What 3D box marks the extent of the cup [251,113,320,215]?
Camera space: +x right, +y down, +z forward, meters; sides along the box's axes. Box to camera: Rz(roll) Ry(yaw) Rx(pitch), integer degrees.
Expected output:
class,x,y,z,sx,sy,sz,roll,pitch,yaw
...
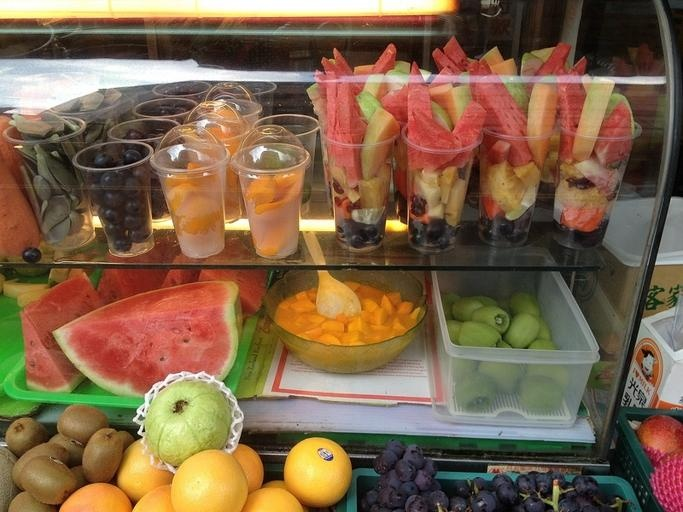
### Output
class,x,y,z,sx,sy,sz,roll,pitch,yaw
cup,-0.139,-0.227,1.182,0.160,0.221,0.159,1,36,0

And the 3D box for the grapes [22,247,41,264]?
class,x,y,z,sx,sy,sz,roll,pitch,yaw
grapes,-0.758,-0.003,1.235,0.040,0.039,0.045,-23,-2,-30

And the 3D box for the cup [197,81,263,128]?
class,x,y,z,sx,sy,sz,roll,pitch,yaw
cup,-0.282,-0.385,1.236,0.114,0.103,0.112,0,24,0

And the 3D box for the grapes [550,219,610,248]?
class,x,y,z,sx,sy,sz,roll,pitch,yaw
grapes,0.576,-0.055,1.208,0.079,0.048,0.077,7,27,26

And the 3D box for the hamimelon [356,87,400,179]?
class,x,y,z,sx,sy,sz,roll,pitch,yaw
hamimelon,0.077,-0.268,1.115,0.120,0.154,0.145,-17,8,17

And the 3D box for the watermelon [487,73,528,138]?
class,x,y,z,sx,sy,sz,roll,pitch,yaw
watermelon,0.375,-0.336,1.131,0.081,0.125,0.030,-12,0,-1

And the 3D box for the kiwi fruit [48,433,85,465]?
class,x,y,z,sx,sy,sz,roll,pitch,yaw
kiwi fruit,-0.637,0.452,1.184,0.072,0.055,0.057,9,9,-13

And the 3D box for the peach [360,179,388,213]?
class,x,y,z,sx,sy,sz,roll,pitch,yaw
peach,0.068,-0.142,1.204,0.087,0.099,0.061,2,29,4

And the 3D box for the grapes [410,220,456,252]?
class,x,y,z,sx,sy,sz,roll,pitch,yaw
grapes,0.214,-0.050,1.196,0.089,0.066,0.085,-2,20,-1

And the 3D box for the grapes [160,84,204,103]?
class,x,y,z,sx,sy,sz,roll,pitch,yaw
grapes,-0.386,-0.403,1.247,0.059,0.020,0.058,4,27,10

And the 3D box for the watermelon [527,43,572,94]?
class,x,y,z,sx,sy,sz,roll,pitch,yaw
watermelon,0.513,-0.473,1.227,0.067,0.046,0.173,28,69,17

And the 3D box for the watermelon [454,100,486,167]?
class,x,y,z,sx,sy,sz,roll,pitch,yaw
watermelon,0.288,-0.283,1.112,0.038,0.113,0.089,11,0,19

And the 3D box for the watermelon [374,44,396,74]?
class,x,y,z,sx,sy,sz,roll,pitch,yaw
watermelon,0.100,-0.470,1.187,0.046,0.053,0.063,9,34,19

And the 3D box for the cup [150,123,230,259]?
class,x,y,z,sx,sy,sz,roll,pitch,yaw
cup,-0.350,-0.150,1.204,0.153,0.282,0.147,-2,32,1

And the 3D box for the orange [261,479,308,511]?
class,x,y,z,sx,sy,sz,roll,pitch,yaw
orange,-0.122,0.532,1.111,0.057,0.067,0.057,14,52,34

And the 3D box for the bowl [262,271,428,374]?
class,x,y,z,sx,sy,sz,roll,pitch,yaw
bowl,-0.025,0.186,1.423,0.347,0.124,0.343,0,34,0

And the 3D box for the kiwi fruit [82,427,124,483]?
class,x,y,z,sx,sy,sz,roll,pitch,yaw
kiwi fruit,-0.534,0.448,1.130,0.081,0.122,0.073,11,-10,-7

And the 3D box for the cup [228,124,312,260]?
class,x,y,z,sx,sy,sz,roll,pitch,yaw
cup,-0.159,-0.135,1.206,0.177,0.260,0.118,-6,32,-6

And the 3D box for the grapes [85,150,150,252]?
class,x,y,z,sx,sy,sz,roll,pitch,yaw
grapes,-0.511,-0.136,1.202,0.144,0.248,0.109,-9,32,-9

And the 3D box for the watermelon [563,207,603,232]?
class,x,y,z,sx,sy,sz,roll,pitch,yaw
watermelon,0.573,-0.093,1.184,0.061,0.039,0.068,0,12,4

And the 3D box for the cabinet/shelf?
class,x,y,z,sx,sy,sz,roll,pitch,yaw
cabinet/shelf,0.001,-0.063,1.223,1.269,0.873,0.445,1,33,2

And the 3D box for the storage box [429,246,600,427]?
class,x,y,z,sx,sy,sz,roll,pitch,yaw
storage box,0.455,0.140,1.371,0.379,0.253,0.490,1,38,3

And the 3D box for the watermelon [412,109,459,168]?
class,x,y,z,sx,sy,sz,roll,pitch,yaw
watermelon,0.202,-0.256,1.110,0.104,0.114,0.055,1,32,6

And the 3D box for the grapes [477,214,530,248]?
class,x,y,z,sx,sy,sz,roll,pitch,yaw
grapes,0.395,-0.060,1.223,0.094,0.084,0.093,-20,27,-34

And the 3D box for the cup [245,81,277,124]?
class,x,y,z,sx,sy,sz,roll,pitch,yaw
cup,-0.199,-0.386,1.240,0.064,0.057,0.067,2,35,-2

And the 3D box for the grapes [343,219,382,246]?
class,x,y,z,sx,sy,sz,roll,pitch,yaw
grapes,0.043,-0.064,1.198,0.073,0.053,0.069,3,5,21

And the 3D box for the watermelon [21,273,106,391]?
class,x,y,z,sx,sy,sz,roll,pitch,yaw
watermelon,-0.813,0.220,1.427,0.267,0.121,0.269,-35,56,1

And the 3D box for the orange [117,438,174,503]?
class,x,y,z,sx,sy,sz,roll,pitch,yaw
orange,-0.456,0.499,1.211,0.116,0.144,0.113,-9,5,-15
